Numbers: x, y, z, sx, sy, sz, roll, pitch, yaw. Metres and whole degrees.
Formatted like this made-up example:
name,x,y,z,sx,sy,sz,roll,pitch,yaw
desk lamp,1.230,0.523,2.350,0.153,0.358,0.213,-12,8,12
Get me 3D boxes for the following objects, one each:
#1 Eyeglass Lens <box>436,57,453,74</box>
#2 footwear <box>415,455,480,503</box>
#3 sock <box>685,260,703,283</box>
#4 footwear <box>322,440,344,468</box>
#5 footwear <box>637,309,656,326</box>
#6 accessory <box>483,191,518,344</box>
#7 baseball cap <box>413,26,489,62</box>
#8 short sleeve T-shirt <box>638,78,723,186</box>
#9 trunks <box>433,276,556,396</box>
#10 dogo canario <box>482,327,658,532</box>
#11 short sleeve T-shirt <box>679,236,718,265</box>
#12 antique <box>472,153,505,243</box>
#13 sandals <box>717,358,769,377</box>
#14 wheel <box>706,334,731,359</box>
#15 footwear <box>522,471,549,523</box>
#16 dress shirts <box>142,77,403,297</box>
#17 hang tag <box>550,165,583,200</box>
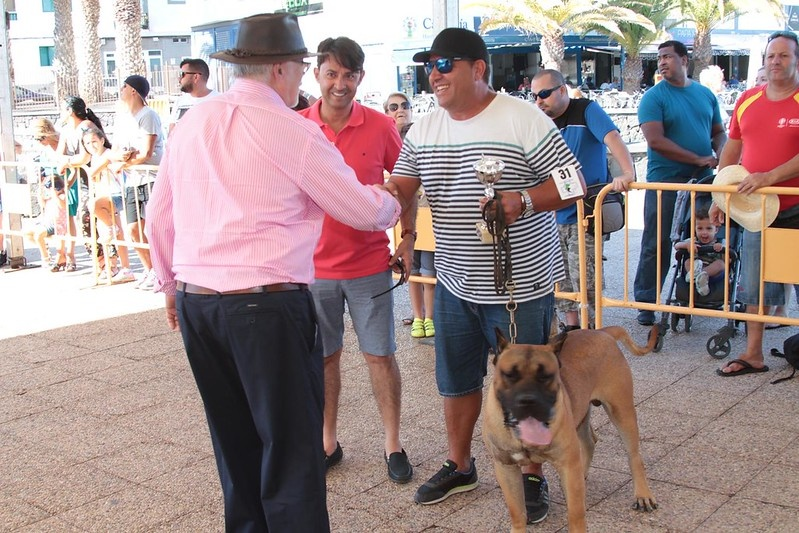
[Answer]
name,x,y,z,sx,sy,sz,roll,pitch,yaw
Eyeglass Lens,0.267,-1.184,3.914,0.102,0.086,0.023,-1,12,2
footwear,0.242,1.407,4.309,0.513,0.225,0.180,-10,8,-28
sock,2.842,0.054,6.371,0.070,0.212,0.083,7,-20,19
footwear,-0.451,1.369,4.719,0.082,0.099,0.247,-2,33,29
footwear,2.651,0.554,7.095,0.107,0.126,0.275,1,11,8
accessory,0.604,0.124,4.022,0.211,1.105,0.177,-11,21,-15
baseball cap,0.324,-1.321,3.989,0.329,0.164,0.243,11,15,-11
short sleeve T-shirt,3.092,-1.500,7.228,0.868,1.027,0.547,-4,9,1
trunks,0.570,0.400,3.983,0.612,0.876,0.476,7,12,21
dogo canario,0.982,0.964,3.830,1.135,1.232,0.477,-11,15,-37
short sleeve T-shirt,3.020,-0.155,6.632,0.287,0.128,0.394,5,14,27
antique,0.524,-0.375,3.897,0.173,0.531,0.229,0,12,7
sandals,2.982,0.900,5.803,0.439,0.132,0.170,1,1,2
wheel,2.962,0.753,6.132,0.224,0.248,0.059,2,16,7
footwear,0.849,1.444,4.123,0.137,0.155,0.393,-2,2,13
dress shirts,-0.734,-0.396,3.514,1.311,1.166,0.484,-3,12,-6
hang tag,0.964,-0.485,3.851,0.159,0.180,0.018,-20,-5,-14
